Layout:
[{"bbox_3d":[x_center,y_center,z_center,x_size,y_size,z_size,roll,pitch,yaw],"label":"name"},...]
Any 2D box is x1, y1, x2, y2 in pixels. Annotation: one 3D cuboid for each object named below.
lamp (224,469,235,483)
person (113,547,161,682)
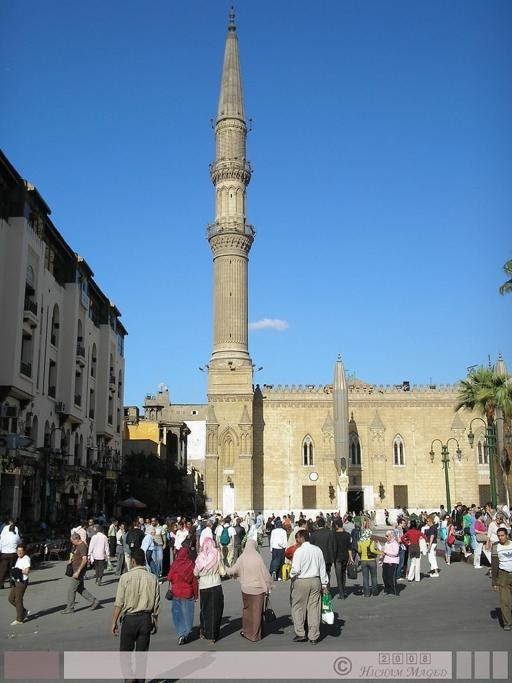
[{"bbox_3d":[-2.244,12.014,54.696,0.800,1.258,0.294,0,-35,-1],"label":"lamp"},{"bbox_3d":[-1.026,2.421,5.360,0.386,1.141,0.710,1,-12,-12],"label":"person"}]
